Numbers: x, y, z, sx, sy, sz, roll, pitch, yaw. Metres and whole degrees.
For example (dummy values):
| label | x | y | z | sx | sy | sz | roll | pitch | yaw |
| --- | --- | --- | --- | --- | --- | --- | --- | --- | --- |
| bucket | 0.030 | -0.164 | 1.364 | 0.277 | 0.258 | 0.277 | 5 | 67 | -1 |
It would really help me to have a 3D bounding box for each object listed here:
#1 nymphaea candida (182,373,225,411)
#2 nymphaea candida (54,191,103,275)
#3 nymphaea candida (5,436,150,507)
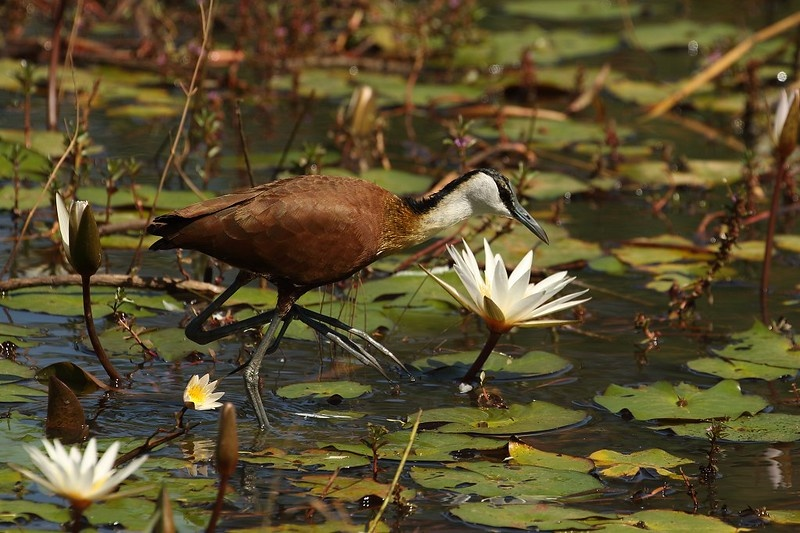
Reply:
| label | x | y | z | sx | sy | sz | roll | pitch | yaw |
| --- | --- | --- | --- | --- | --- | --- | --- | --- | --- |
| nymphaea candida | -0.962 | 0.615 | 4.206 | 0.179 | 0.172 | 0.193 | 7 | 25 | -8 |
| nymphaea candida | -1.610 | -0.151 | 4.278 | 0.181 | 0.467 | 0.284 | -3 | 33 | -27 |
| nymphaea candida | -1.205 | 0.757 | 3.169 | 0.483 | 0.106 | 0.307 | 3 | 13 | 4 |
